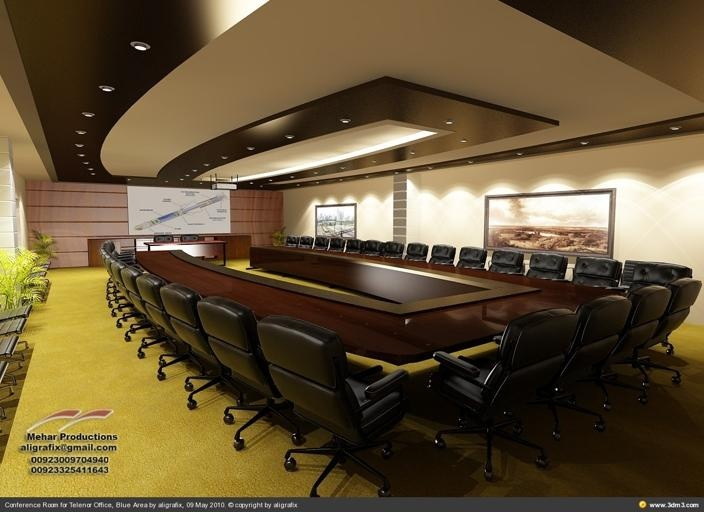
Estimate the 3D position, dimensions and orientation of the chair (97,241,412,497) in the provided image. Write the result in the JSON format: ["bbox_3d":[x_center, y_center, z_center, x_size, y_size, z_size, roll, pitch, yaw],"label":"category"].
[{"bbox_3d":[-0.997,1.050,3.526,0.815,0.747,2.596,-6,8,-42],"label":"chair"}]

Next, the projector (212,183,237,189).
[{"bbox_3d":[-4.290,-2.355,12.646,0.715,0.171,1.426,-2,9,-14],"label":"projector"}]

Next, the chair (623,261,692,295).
[{"bbox_3d":[3.633,0.267,4.509,0.520,0.439,0.471,-1,3,-33],"label":"chair"}]

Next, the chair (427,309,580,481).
[{"bbox_3d":[1.137,0.976,2.865,1.073,1.241,0.623,1,13,5],"label":"chair"}]

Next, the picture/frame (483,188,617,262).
[{"bbox_3d":[4.076,-0.638,7.596,2.225,0.889,0.103,3,2,42],"label":"picture/frame"}]

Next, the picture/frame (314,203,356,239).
[{"bbox_3d":[-0.545,-1.237,13.099,0.042,0.885,2.068,2,-1,-45],"label":"picture/frame"}]
